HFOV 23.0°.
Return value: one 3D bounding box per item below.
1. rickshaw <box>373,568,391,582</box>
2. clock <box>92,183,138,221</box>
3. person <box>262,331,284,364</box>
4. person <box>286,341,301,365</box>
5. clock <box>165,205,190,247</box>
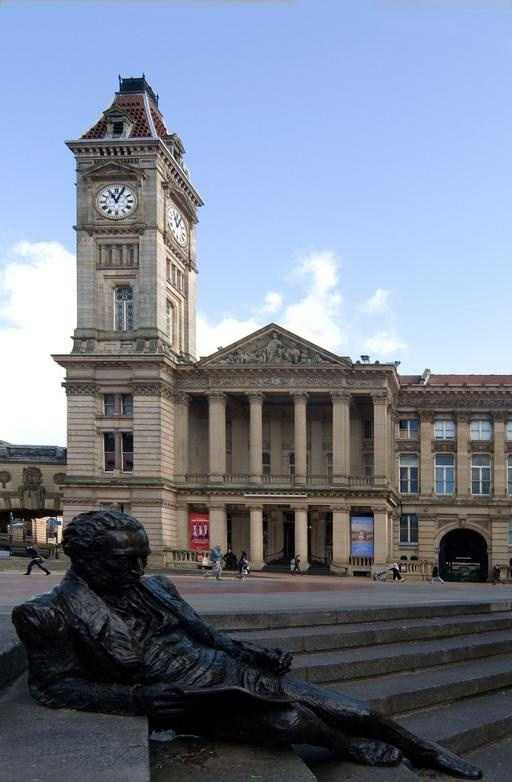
[{"bbox_3d":[5.093,7.387,50.143,0.663,0.725,1.322,-2,-6,-9],"label":"rickshaw"},{"bbox_3d":[-6.228,-8.406,56.038,1.795,1.724,0.392,5,-6,13],"label":"clock"},{"bbox_3d":[0.829,-1.927,54.768,0.895,1.384,0.523,6,-5,0],"label":"person"},{"bbox_3d":[1.655,-1.629,54.381,0.712,0.864,0.305,4,-6,16],"label":"person"},{"bbox_3d":[-3.774,-7.892,59.979,0.180,2.067,2.254,-16,-36,25],"label":"clock"}]
